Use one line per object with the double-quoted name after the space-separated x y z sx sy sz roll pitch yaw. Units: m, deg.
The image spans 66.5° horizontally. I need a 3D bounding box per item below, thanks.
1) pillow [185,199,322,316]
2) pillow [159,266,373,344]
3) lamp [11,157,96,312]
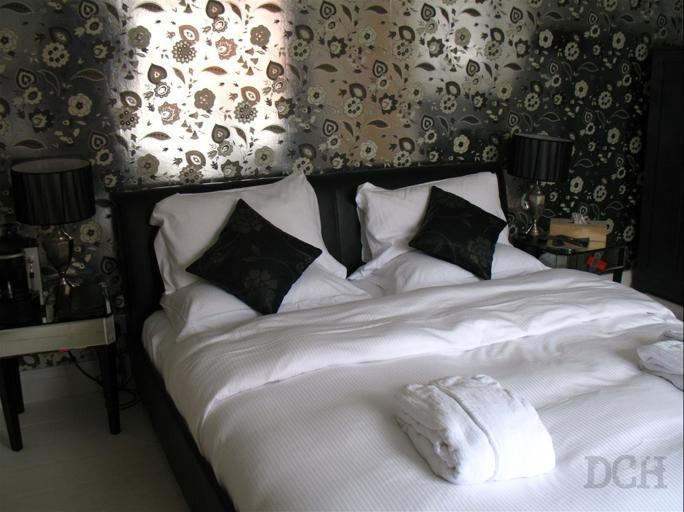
-0.364 0.184 2.777 0.144 0.618 0.631 37 10 32 "pillow"
-0.414 0.217 2.766 0.975 0.295 0.452 -3 12 -26 "pillow"
-1.503 -0.135 2.724 0.352 0.754 0.401 -5 14 -32 "lamp"
